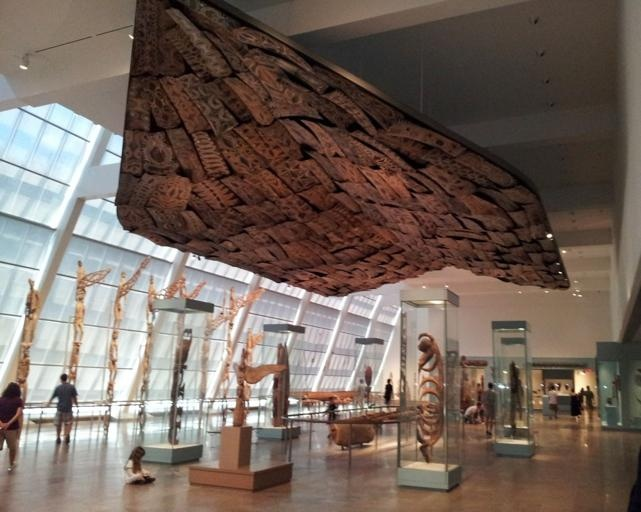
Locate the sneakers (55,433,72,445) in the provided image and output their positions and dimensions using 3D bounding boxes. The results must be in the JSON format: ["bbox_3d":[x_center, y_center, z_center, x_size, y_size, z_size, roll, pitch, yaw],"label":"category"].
[{"bbox_3d":[-5.533,4.024,9.950,0.224,0.234,0.590,3,-31,-15],"label":"sneakers"}]

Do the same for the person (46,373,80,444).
[{"bbox_3d":[-5.689,3.355,10.112,0.526,1.444,0.815,11,-21,-26],"label":"person"}]

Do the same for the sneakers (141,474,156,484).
[{"bbox_3d":[-2.425,3.166,6.458,0.166,0.052,0.113,12,-51,-33],"label":"sneakers"}]

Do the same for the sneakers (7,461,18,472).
[{"bbox_3d":[-4.706,3.230,6.992,0.106,0.102,0.292,3,-13,-15],"label":"sneakers"}]
